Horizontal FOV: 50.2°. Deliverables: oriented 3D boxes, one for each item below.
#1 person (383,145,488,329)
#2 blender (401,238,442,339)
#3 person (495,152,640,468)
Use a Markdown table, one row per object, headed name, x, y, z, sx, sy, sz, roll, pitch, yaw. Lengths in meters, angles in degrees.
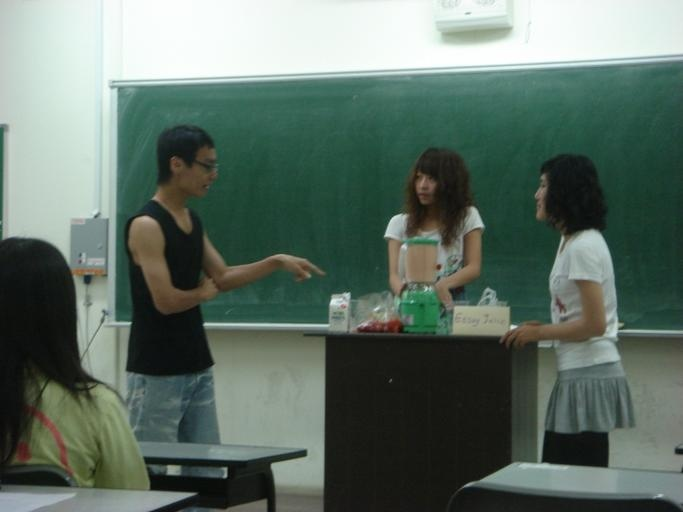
| name | x | y | z | sx | sy | sz | roll | pitch | yaw |
| --- | --- | --- | --- | --- | --- | --- | --- | --- | --- |
| person | 0.423 | 0.102 | 3.384 | 0.411 | 1.221 | 0.473 | -3 | -6 | 22 |
| blender | 0.315 | 0.123 | 2.959 | 0.159 | 0.377 | 0.116 | -2 | 2 | 4 |
| person | 0.877 | 0.199 | 2.771 | 0.424 | 1.183 | 0.279 | -1 | 2 | 21 |
